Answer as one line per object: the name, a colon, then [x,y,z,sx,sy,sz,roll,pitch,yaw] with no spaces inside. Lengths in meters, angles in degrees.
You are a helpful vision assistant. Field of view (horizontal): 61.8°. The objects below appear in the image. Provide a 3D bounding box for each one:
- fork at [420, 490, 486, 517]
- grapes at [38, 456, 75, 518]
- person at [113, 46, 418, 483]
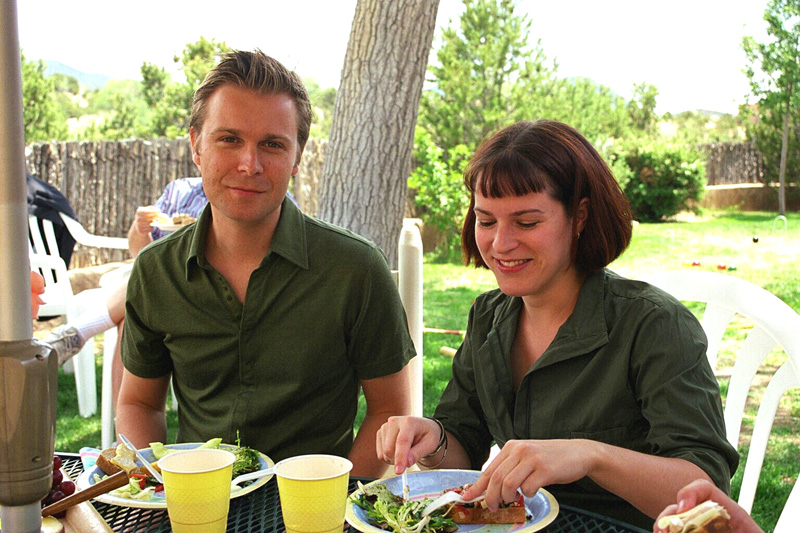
fork: [0.168,0.738,2.080,0.225,0.035,0.040,-14,15,-32]
grapes: [-1.073,0.624,2.077,0.086,0.180,0.414,0,3,-27]
person: [-0.674,0.174,3.071,0.873,2.034,1.042,-1,3,-20]
